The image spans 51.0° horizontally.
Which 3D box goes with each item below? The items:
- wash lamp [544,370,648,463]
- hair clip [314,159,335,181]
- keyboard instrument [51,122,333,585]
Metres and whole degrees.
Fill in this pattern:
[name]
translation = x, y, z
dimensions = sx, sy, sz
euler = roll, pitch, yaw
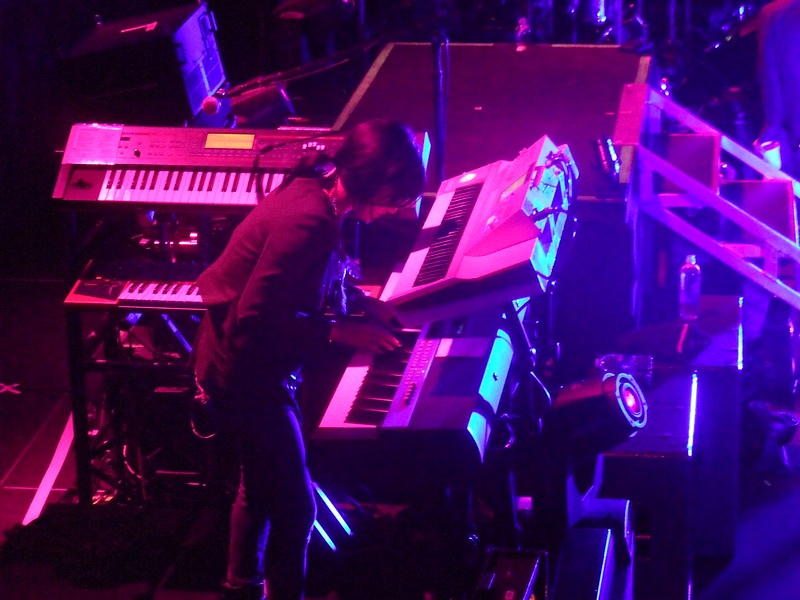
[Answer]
[wash lamp]
translation = 0.741, 0.448, 3.224
dimensions = 0.447, 0.240, 0.175
euler = -26, -19, 27
[hair clip]
translation = -0.285, -0.485, 3.155
dimensions = 0.079, 0.079, 0.019
euler = -12, -7, -10
[keyboard instrument]
translation = -0.898, 0.243, 3.712
dimensions = 1.147, 1.617, 1.501
euler = 0, 47, -4
